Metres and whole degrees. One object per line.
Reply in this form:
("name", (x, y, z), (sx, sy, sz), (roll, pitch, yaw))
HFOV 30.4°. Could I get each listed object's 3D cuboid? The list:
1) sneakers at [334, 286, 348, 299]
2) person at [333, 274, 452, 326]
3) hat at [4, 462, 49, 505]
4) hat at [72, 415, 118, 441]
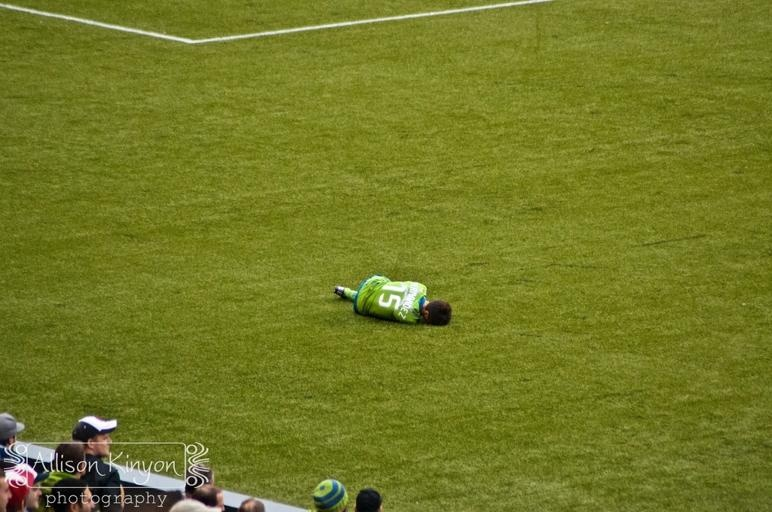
("sneakers", (-0.683, 0.527, 20.579), (0.137, 0.111, 0.180), (16, -9, 46))
("person", (0.150, 0.634, 20.260), (1.296, 0.386, 0.662), (13, 41, 14))
("hat", (-4.468, 2.818, 17.490), (0.518, 0.441, 0.541), (6, 1, -14))
("hat", (-3.619, 2.152, 17.645), (0.446, 0.246, 0.295), (-13, 23, -16))
